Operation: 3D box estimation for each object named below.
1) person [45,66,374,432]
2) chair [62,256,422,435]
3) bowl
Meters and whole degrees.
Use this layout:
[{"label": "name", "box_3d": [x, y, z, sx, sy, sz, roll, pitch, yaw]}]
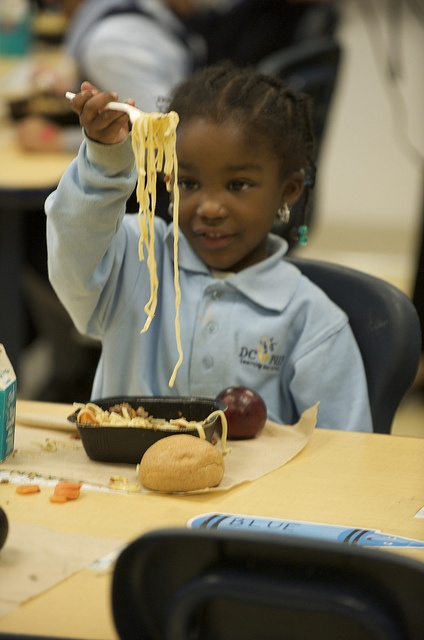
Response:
[{"label": "person", "box_3d": [-0.021, -0.083, 1.053, 0.380, 0.727, 0.437, 5, 12, 29]}, {"label": "chair", "box_3d": [0.139, 0.028, 1.042, 0.406, 0.228, 0.262, 6, 14, 32]}, {"label": "bowl", "box_3d": [-0.090, 0.119, 0.838, 0.189, 0.076, 0.132, -6, 7, -31]}]
